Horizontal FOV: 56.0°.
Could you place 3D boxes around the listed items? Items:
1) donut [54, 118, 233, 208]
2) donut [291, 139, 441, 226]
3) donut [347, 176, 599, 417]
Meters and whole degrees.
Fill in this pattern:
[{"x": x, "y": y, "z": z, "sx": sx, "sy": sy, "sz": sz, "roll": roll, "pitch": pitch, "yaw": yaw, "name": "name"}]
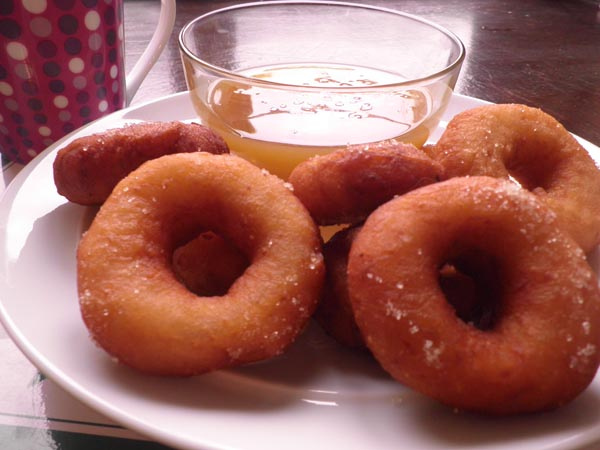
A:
[{"x": -0.227, "y": -0.108, "z": 0.902, "sx": 0.270, "sy": 0.106, "sz": 0.117, "roll": -14, "pitch": 15, "yaw": -19, "name": "donut"}, {"x": 0.053, "y": -0.062, "z": 0.750, "sx": 0.157, "sy": 0.129, "sz": 0.050, "roll": 0, "pitch": 45, "yaw": 18, "name": "donut"}, {"x": 0.207, "y": 0.081, "z": 0.652, "sx": 0.310, "sy": 0.171, "sz": 0.238, "roll": 18, "pitch": 54, "yaw": 15, "name": "donut"}]
